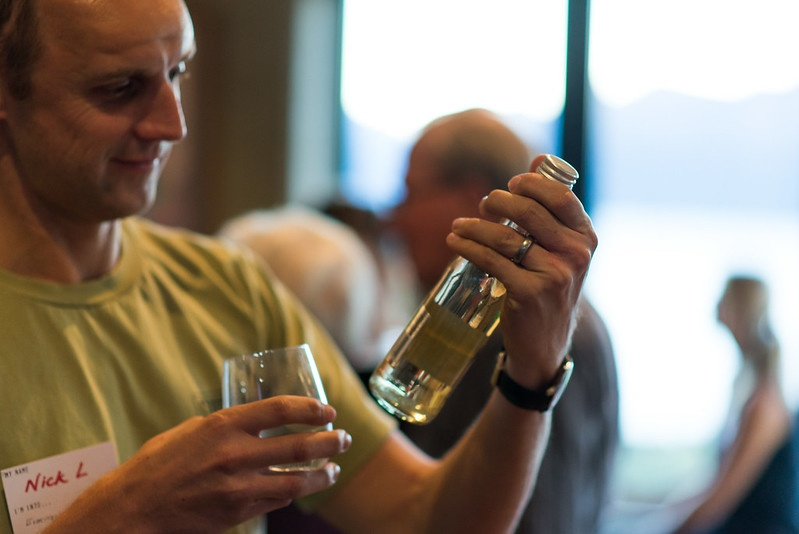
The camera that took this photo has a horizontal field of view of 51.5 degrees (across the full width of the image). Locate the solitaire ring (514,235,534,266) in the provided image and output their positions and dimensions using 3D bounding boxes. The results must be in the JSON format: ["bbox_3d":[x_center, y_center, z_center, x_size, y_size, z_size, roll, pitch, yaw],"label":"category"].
[{"bbox_3d":[0.216,-0.027,1.444,0.011,0.043,0.043,37,52,10],"label":"solitaire ring"}]

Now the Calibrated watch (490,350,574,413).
[{"bbox_3d":[0.247,0.227,1.541,0.119,0.047,0.120,15,44,4],"label":"Calibrated watch"}]

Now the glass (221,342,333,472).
[{"bbox_3d":[-0.206,0.240,1.392,0.181,0.194,0.119,2,10,-11],"label":"glass"}]
